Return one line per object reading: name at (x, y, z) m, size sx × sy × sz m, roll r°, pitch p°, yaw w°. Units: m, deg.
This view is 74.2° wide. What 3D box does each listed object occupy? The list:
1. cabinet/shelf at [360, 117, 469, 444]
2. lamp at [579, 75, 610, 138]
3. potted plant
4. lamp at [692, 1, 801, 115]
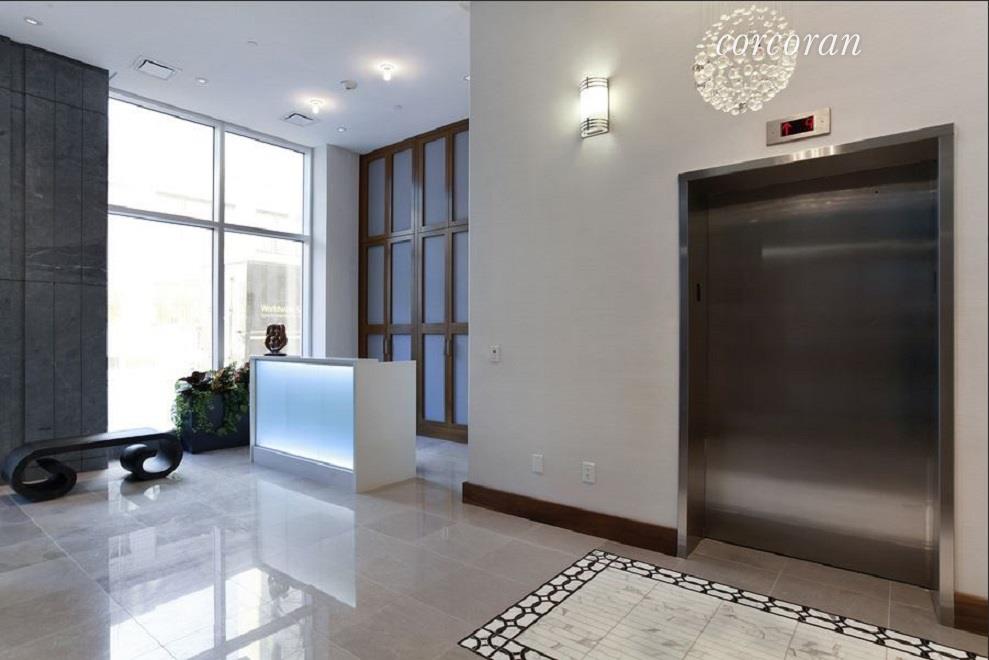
cabinet/shelf at (-1.036, -0.712, 8.950) m, size 0.882 × 4.031 × 2.391 m, roll -13°, pitch 18°, yaw -42°
lamp at (0.822, -1.835, 5.390) m, size 0.267 × 0.484 × 0.189 m, roll 3°, pitch 14°, yaw 13°
potted plant at (-3.489, 0.889, 8.343) m, size 1.184 × 1.175 × 0.882 m, roll 2°, pitch -2°, yaw -39°
lamp at (1.731, -1.861, 4.475) m, size 0.593 × 0.734 × 0.855 m, roll 6°, pitch 15°, yaw 23°
